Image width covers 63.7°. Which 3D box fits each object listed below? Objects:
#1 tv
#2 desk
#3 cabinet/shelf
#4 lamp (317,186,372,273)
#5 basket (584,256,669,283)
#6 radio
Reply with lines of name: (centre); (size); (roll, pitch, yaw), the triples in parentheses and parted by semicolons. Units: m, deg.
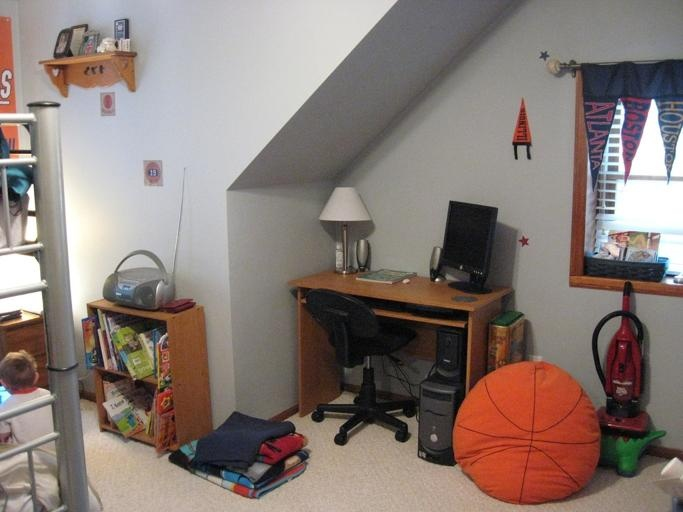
tv: (0.815, -0.060, 3.509); (0.291, 0.637, 0.504); (-4, 11, -39)
desk: (0.350, 0.661, 3.689); (1.246, 0.945, 0.661); (5, 8, 29)
cabinet/shelf: (-1.178, 0.753, 3.442); (0.794, 0.955, 0.296); (5, 10, 40)
lamp: (0.024, -0.186, 3.964); (0.370, 0.615, 0.350); (5, 7, 27)
basket: (1.737, 0.071, 3.378); (0.456, 0.137, 0.122); (4, 7, 21)
radio: (-1.262, -0.121, 3.486); (0.549, 0.884, 0.324); (6, 8, 33)
